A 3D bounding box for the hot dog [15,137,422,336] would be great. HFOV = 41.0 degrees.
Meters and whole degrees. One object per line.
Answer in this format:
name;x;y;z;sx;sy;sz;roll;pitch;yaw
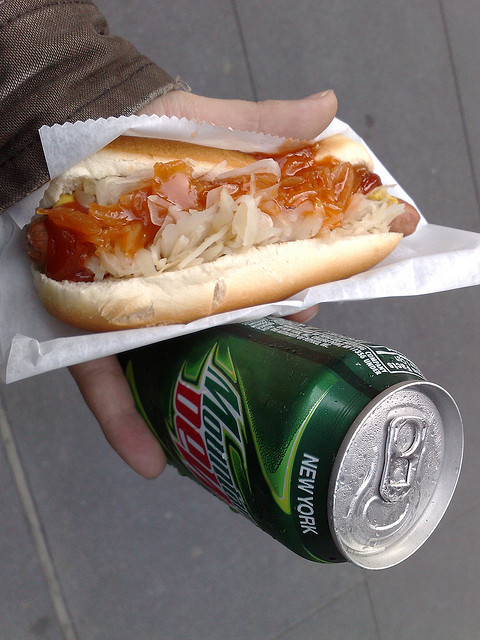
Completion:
hot dog;-0.006;-0.201;1.313;0.787;0.239;0.327;-11;76;-10
